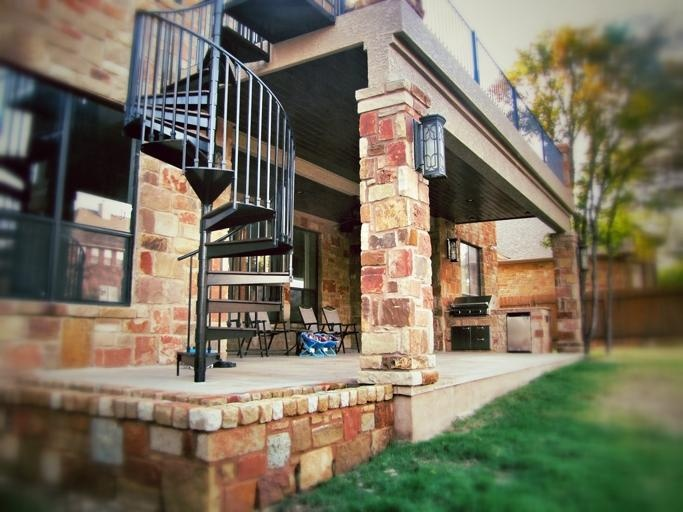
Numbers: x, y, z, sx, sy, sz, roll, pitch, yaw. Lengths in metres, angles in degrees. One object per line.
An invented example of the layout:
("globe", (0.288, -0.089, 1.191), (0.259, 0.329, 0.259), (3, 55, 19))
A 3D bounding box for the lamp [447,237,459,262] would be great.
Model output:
("lamp", (2.410, -0.125, 11.036), (0.189, 0.440, 0.529), (5, -2, 31))

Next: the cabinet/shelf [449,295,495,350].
("cabinet/shelf", (2.592, 1.337, 10.286), (1.019, 0.973, 0.492), (5, -1, 36))

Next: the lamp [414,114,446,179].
("lamp", (0.693, -0.876, 4.055), (0.271, 0.454, 0.215), (5, -1, 15))
